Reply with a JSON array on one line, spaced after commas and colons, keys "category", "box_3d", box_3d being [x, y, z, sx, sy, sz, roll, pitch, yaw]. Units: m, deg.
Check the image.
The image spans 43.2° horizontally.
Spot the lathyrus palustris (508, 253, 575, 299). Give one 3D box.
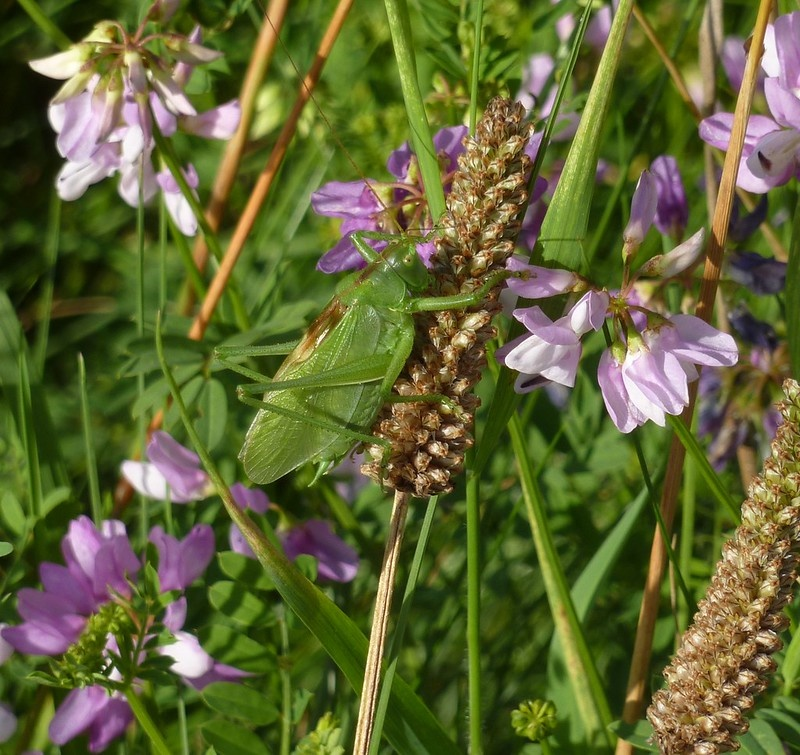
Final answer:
[{"category": "lathyrus palustris", "box_3d": [0.196, -0.148, 1.425, 0.075, 0.063, 0.031, 12, 3, -28]}]

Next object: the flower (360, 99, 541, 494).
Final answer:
[{"category": "flower", "box_3d": [0.075, -0.052, 1.406, 0.167, 0.493, 0.430, 8, 51, 17]}]

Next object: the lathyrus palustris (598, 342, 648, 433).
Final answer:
[{"category": "lathyrus palustris", "box_3d": [0.308, 0.022, 1.456, 0.052, 0.031, 0.134, -15, 83, -25]}]

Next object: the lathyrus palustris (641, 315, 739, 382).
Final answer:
[{"category": "lathyrus palustris", "box_3d": [0.405, -0.052, 1.421, 0.112, 0.081, 0.039, 29, 2, 36]}]

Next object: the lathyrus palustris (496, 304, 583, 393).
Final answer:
[{"category": "lathyrus palustris", "box_3d": [0.199, -0.043, 1.407, 0.104, 0.126, 0.054, -3, 17, -21]}]

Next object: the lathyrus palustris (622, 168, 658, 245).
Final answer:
[{"category": "lathyrus palustris", "box_3d": [0.337, -0.234, 1.464, 0.032, 0.133, 0.031, 10, 10, -11]}]
